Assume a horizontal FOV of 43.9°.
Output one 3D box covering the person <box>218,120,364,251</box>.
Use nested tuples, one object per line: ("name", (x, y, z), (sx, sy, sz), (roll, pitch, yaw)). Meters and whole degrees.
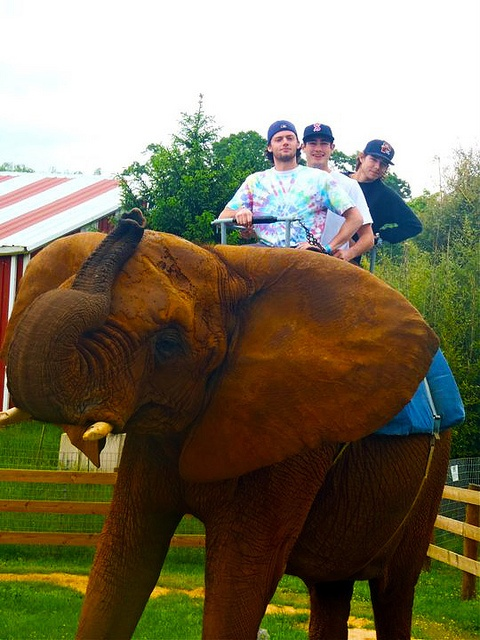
("person", (0.255, -0.643, 3.414), (0.867, 0.931, 0.553), (1, 11, 28))

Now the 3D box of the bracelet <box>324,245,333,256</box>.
("bracelet", (0.460, -0.359, 3.067), (0.050, 0.053, 0.130), (-7, 5, 2))
